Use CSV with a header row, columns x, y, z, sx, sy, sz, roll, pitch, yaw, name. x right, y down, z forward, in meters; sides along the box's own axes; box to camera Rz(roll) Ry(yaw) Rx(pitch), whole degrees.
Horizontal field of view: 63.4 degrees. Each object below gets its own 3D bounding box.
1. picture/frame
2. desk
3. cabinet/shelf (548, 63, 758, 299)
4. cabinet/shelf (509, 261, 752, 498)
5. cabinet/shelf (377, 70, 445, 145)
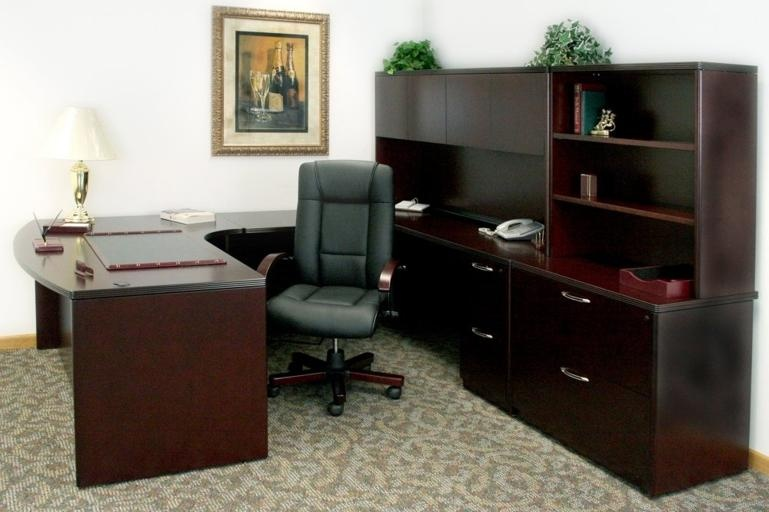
x,y,z,sx,sy,sz,roll,pitch,yaw,name
-0.984,-1.497,5.379,1.060,1.233,0.345,-4,19,-10,picture/frame
-1.224,0.442,3.666,1.656,0.760,1.449,0,6,-20,desk
1.484,-0.505,3.675,0.430,1.186,1.287,-12,17,-18,cabinet/shelf
1.428,0.665,3.789,0.811,0.957,1.260,-3,6,-26,cabinet/shelf
0.194,-1.248,5.242,0.252,0.563,1.113,-7,18,-18,cabinet/shelf
